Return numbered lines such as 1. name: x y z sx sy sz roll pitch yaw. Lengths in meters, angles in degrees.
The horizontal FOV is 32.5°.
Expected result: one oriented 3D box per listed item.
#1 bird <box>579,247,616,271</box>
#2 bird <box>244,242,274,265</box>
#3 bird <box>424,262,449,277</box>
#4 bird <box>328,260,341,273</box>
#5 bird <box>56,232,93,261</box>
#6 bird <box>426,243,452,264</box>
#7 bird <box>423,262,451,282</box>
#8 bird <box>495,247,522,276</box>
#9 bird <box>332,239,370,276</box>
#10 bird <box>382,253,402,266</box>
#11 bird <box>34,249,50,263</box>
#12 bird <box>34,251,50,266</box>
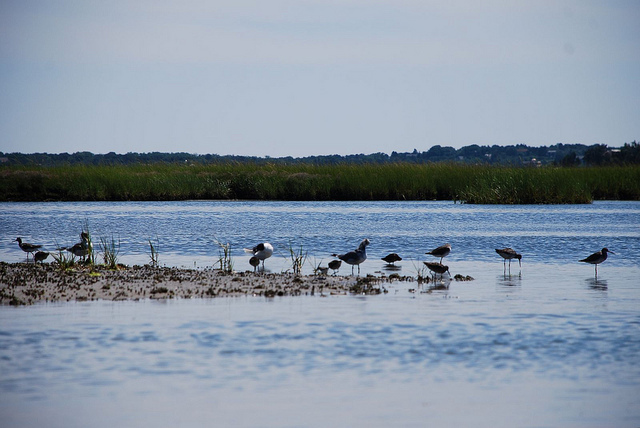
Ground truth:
1. bird: 10.038 1.514 39.224 1.386 0.986 0.432 2 2 5
2. bird: -2.114 1.282 39.476 1.020 0.759 0.621 14 16 32
3. bird: 4.084 1.849 37.761 0.921 0.321 0.513 20 -17 -31
4. bird: 0.570 1.744 38.241 0.447 0.294 0.230 -7 2 29
5. bird: -8.729 1.213 39.728 0.746 1.211 1.712 -5 15 -19
6. bird: 4.437 1.336 39.682 1.225 0.726 0.398 -12 5 -1
7. bird: 4.188 1.898 37.521 0.432 0.645 1.198 -11 19 -37
8. bird: 6.803 1.438 39.276 0.940 0.787 0.357 0 1 2
9. bird: 1.247 1.545 38.873 0.893 1.260 1.763 2 14 8
10. bird: 2.651 1.608 40.278 0.601 0.383 0.294 -1 5 37
11. bird: -10.333 1.581 40.656 0.467 0.504 0.761 -3 15 -15
12. bird: -10.326 1.579 40.545 0.298 0.376 0.908 4 22 -19
